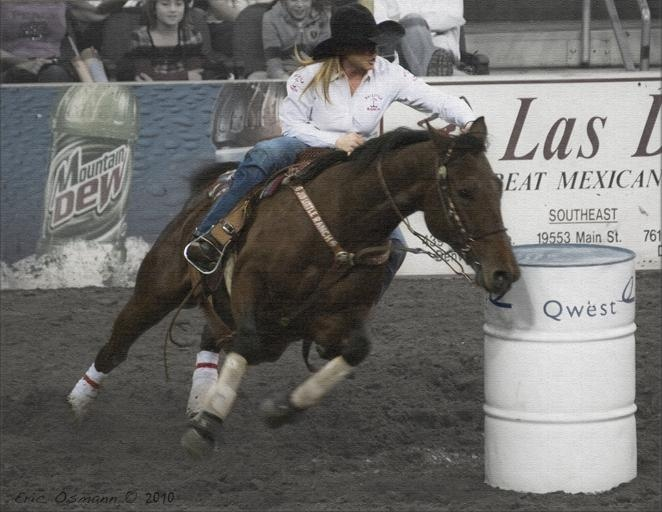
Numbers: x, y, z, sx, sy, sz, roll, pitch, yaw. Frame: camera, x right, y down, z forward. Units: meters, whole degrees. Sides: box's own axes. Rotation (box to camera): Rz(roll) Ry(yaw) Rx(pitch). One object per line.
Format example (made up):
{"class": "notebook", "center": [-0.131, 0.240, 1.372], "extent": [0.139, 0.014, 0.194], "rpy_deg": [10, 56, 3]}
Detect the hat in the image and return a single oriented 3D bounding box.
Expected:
{"class": "hat", "center": [0.124, -1.169, 5.689], "extent": [0.615, 0.137, 0.325], "rpy_deg": [-8, 19, 11]}
